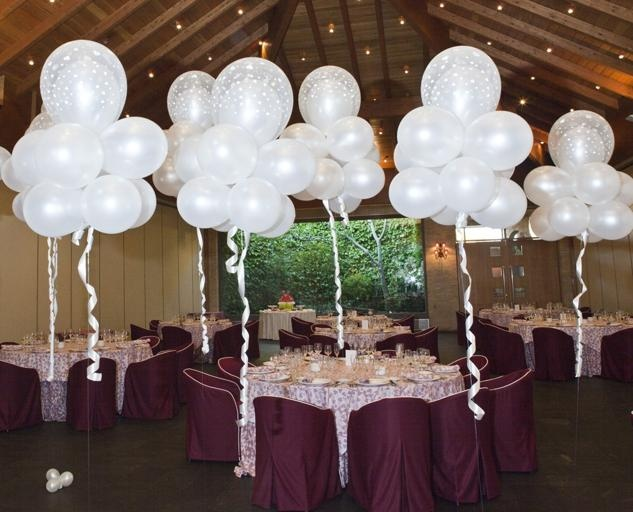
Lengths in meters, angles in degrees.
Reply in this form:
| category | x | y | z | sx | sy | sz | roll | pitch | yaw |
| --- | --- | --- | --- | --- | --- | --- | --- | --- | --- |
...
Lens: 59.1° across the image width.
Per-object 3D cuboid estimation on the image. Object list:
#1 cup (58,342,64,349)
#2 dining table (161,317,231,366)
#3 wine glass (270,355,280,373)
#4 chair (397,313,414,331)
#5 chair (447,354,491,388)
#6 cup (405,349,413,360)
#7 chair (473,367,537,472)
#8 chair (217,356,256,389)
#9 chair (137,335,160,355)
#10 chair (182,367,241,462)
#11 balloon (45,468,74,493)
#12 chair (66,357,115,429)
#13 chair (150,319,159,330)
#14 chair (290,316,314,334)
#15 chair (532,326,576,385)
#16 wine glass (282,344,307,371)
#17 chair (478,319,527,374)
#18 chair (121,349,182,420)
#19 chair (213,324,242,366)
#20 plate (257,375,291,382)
| category | x | y | z | sx | sy | sz | roll | pitch | yaw |
| --- | --- | --- | --- | --- | --- | --- | --- | --- | --- |
| cup | -3.197 | 1.123 | 7.022 | 0.062 | 0.071 | 0.117 | 5 | -2 | -10 |
| dining table | -2.135 | 1.382 | 10.392 | 0.938 | 0.664 | 1.033 | 0 | -2 | -2 |
| wine glass | -0.412 | 1.092 | 5.642 | 0.086 | 0.224 | 0.092 | 3 | -9 | -17 |
| chair | 1.617 | 1.173 | 9.939 | 0.324 | 0.376 | 0.266 | 2 | -4 | 18 |
| chair | 1.541 | 1.139 | 5.579 | 0.326 | 0.362 | 0.286 | 13 | -17 | -35 |
| cup | 0.905 | 0.965 | 5.508 | 0.073 | 0.080 | 0.072 | 0 | 0 | 0 |
| chair | 1.726 | 1.506 | 5.182 | 0.548 | 0.814 | 0.619 | -4 | -6 | -6 |
| chair | -0.851 | 1.217 | 5.925 | 0.289 | 0.393 | 0.278 | -4 | -3 | 28 |
| chair | -2.256 | 1.238 | 7.737 | 0.229 | 0.197 | 0.254 | 0 | -13 | 3 |
| chair | -1.151 | 1.546 | 5.757 | 0.726 | 1.161 | 0.742 | 0 | 0 | -5 |
| balloon | -2.253 | 1.965 | 4.914 | 0.163 | 0.081 | 0.169 | 8 | 15 | 41 |
| chair | -2.543 | 1.531 | 6.427 | 0.457 | 0.839 | 0.505 | 8 | 8 | 44 |
| chair | -3.084 | 1.314 | 10.669 | 0.204 | 0.217 | 0.225 | -1 | 9 | -8 |
| chair | -0.249 | 1.197 | 9.710 | 0.275 | 0.384 | 0.276 | -1 | -4 | 12 |
| chair | 3.370 | 1.370 | 8.015 | 0.432 | 0.771 | 0.475 | -8 | 4 | -41 |
| wine glass | -0.218 | 1.035 | 5.697 | 0.205 | 0.294 | 0.248 | 1 | -13 | 2 |
| chair | 2.855 | 1.311 | 8.639 | 0.604 | 0.651 | 1.196 | -8 | 6 | -6 |
| chair | -2.046 | 1.600 | 6.761 | 0.547 | 0.814 | 0.616 | 4 | -25 | -22 |
| chair | -1.600 | 1.430 | 10.105 | 0.499 | 0.722 | 0.510 | 2 | 14 | -10 |
| plate | -0.373 | 1.108 | 5.042 | 0.264 | 0.042 | 0.134 | -1 | 6 | 1 |
